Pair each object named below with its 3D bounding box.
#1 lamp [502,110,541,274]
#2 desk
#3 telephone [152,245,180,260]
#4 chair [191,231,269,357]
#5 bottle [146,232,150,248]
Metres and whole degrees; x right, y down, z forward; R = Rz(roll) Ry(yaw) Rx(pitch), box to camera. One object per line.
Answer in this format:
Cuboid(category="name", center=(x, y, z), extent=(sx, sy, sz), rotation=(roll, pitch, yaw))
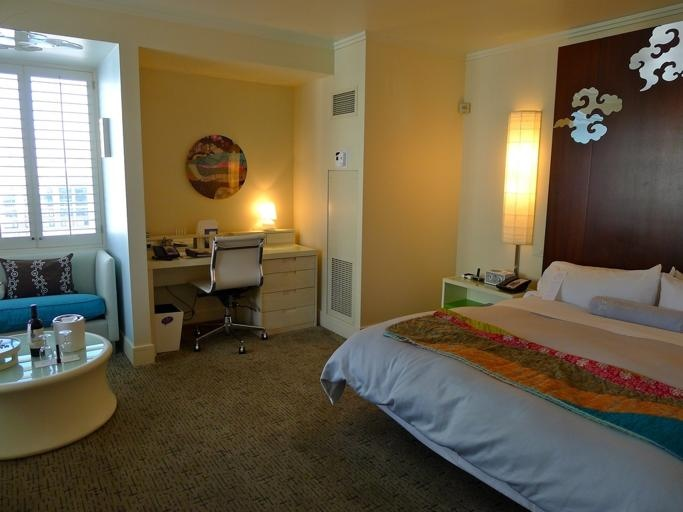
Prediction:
Cuboid(category="lamp", center=(1.703, -0.725, 4.589), extent=(0.284, 1.236, 0.168), rotation=(2, 11, 19))
Cuboid(category="desk", center=(-1.141, 0.263, 5.217), extent=(1.574, 0.741, 0.849), rotation=(-2, 14, -19))
Cuboid(category="telephone", center=(-1.694, -0.022, 4.667), extent=(0.168, 0.109, 0.168), rotation=(0, 4, -24))
Cuboid(category="chair", center=(-1.116, 0.384, 4.853), extent=(0.937, 1.248, 0.894), rotation=(-5, 16, -32))
Cuboid(category="bottle", center=(-1.951, -0.154, 4.895), extent=(0.020, 0.147, 0.185), rotation=(-5, 11, -19))
